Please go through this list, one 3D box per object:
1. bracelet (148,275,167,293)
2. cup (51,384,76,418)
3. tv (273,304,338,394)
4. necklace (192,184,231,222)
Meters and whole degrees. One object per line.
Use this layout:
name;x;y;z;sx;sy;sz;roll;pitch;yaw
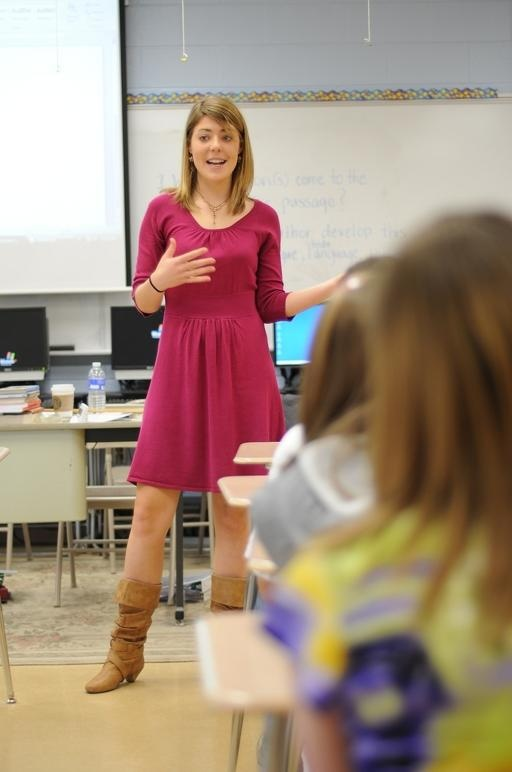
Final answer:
bracelet;-0.226;-0.232;1.710;0.033;0.033;0.073;-2;-2;-8
cup;-0.757;0.049;2.924;0.127;0.120;0.111;-2;-1;13
tv;0.226;-0.196;4.191;0.262;0.375;0.140;-1;-8;42
necklace;-0.105;-0.439;1.838;0.089;0.103;0.039;2;1;0
